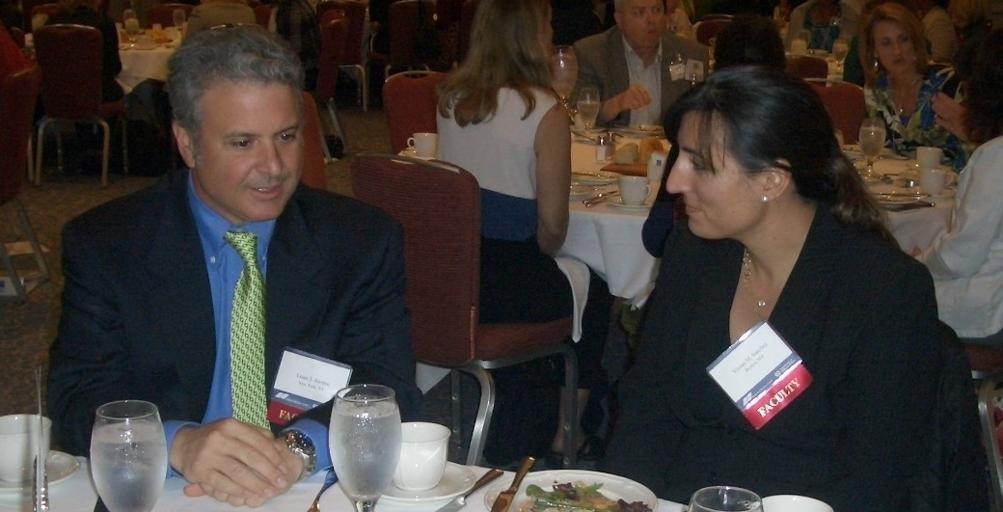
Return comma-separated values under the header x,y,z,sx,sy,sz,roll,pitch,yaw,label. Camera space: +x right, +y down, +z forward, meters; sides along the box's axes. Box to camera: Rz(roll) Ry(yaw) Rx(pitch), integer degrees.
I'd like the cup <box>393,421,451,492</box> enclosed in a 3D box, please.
x,y,z,sx,sy,sz,roll,pitch,yaw,label
-0.238,0.612,2.495,0.200,0.142,0.200,2,8,0,cup
